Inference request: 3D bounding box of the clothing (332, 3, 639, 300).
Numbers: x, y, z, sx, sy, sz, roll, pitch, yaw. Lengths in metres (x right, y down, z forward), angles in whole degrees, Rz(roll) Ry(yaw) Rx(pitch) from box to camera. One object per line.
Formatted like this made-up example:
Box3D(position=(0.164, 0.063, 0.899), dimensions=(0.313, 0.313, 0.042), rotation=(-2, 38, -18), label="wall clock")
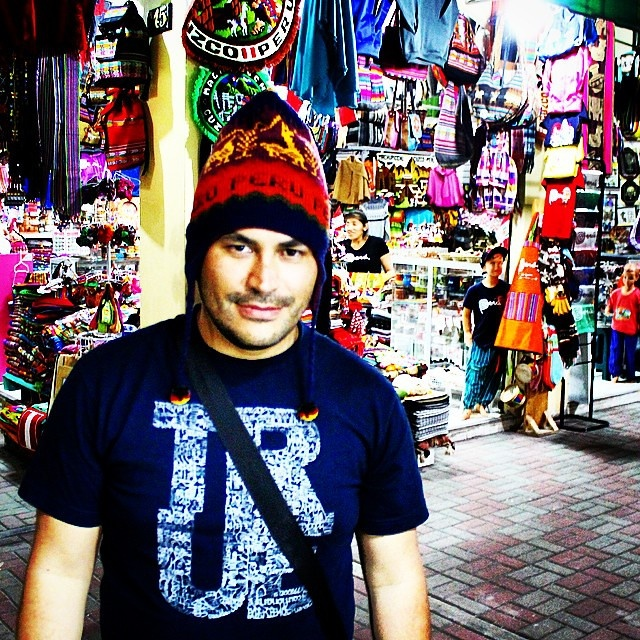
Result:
Box3D(position=(1.694, -1.684, 6.894), dimensions=(1.847, 0.621, 2.220), rotation=(5, -42, 4), label="clothing")
